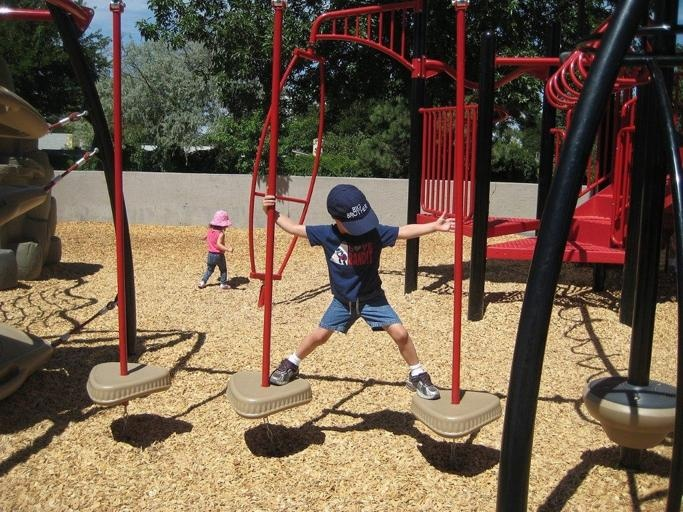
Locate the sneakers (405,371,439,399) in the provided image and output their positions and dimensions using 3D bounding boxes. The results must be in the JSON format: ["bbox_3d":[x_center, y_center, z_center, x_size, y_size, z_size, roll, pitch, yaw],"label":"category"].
[{"bbox_3d":[0.528,0.854,4.680,0.089,0.114,0.231,-1,6,-34],"label":"sneakers"}]

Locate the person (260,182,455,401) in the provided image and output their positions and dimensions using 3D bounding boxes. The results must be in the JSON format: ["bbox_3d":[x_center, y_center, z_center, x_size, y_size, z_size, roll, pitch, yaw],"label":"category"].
[{"bbox_3d":[0.121,0.241,4.818,1.224,1.464,0.599,2,22,8],"label":"person"}]

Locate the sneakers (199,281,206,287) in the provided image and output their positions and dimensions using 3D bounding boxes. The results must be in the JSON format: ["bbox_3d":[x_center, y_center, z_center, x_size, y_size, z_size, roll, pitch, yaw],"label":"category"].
[{"bbox_3d":[-1.552,0.323,7.990,0.050,0.048,0.126,-1,-1,-19],"label":"sneakers"}]

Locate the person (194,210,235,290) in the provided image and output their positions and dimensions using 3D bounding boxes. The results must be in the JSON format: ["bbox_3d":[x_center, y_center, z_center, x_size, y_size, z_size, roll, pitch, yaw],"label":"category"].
[{"bbox_3d":[-1.478,-0.092,8.273,0.388,0.901,1.156,-4,16,-9],"label":"person"}]

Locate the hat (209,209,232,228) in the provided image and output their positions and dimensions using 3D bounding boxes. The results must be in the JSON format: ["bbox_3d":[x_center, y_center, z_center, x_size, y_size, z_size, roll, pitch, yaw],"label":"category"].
[{"bbox_3d":[-1.384,-0.403,8.176,0.282,0.177,0.315,-3,18,-16],"label":"hat"}]
